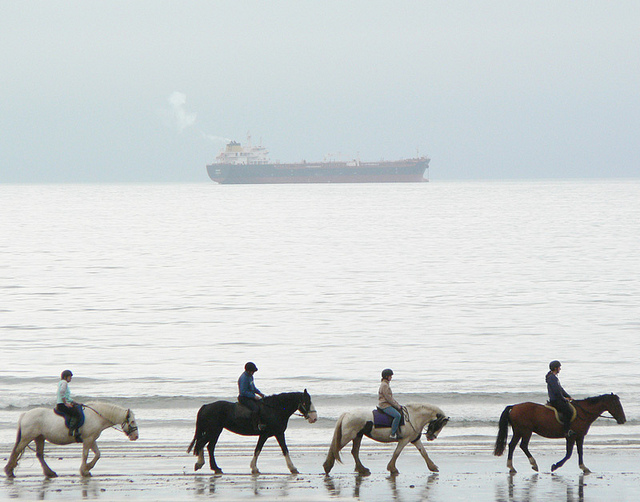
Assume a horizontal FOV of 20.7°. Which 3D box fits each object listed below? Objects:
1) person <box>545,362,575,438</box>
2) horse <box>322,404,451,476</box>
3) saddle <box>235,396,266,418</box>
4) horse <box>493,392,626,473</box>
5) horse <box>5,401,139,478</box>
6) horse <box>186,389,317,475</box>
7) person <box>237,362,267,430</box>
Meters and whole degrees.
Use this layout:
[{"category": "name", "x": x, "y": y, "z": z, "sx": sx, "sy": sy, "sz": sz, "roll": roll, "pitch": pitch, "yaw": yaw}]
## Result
[{"category": "person", "x": 9.780, "y": 6.076, "z": 70.985, "sx": 1.173, "sy": 1.990, "sz": 0.340, "roll": 2, "pitch": 1, "yaw": 9}, {"category": "horse", "x": 2.717, "y": 7.760, "z": 70.940, "sx": 4.666, "sy": 2.844, "sz": 4.411, "roll": 0, "pitch": 5, "yaw": -19}, {"category": "saddle", "x": -2.595, "y": 6.373, "z": 71.382, "sx": 1.761, "sy": 1.139, "sz": 0.466, "roll": -1, "pitch": 12, "yaw": -8}, {"category": "horse", "x": 9.817, "y": 7.381, "z": 71.420, "sx": 5.441, "sy": 3.108, "sz": 1.252, "roll": -1, "pitch": -5, "yaw": 7}, {"category": "horse", "x": -10.130, "y": 7.609, "z": 70.599, "sx": 4.943, "sy": 2.990, "sz": 0.858, "roll": 2, "pitch": 1, "yaw": -12}, {"category": "horse", "x": -2.730, "y": 7.415, "z": 71.255, "sx": 5.375, "sy": 3.326, "sz": 1.440, "roll": -1, "pitch": -3, "yaw": 6}, {"category": "person", "x": -2.708, "y": 5.866, "z": 71.106, "sx": 1.212, "sy": 2.426, "sz": 1.075, "roll": 8, "pitch": 8, "yaw": 33}]
